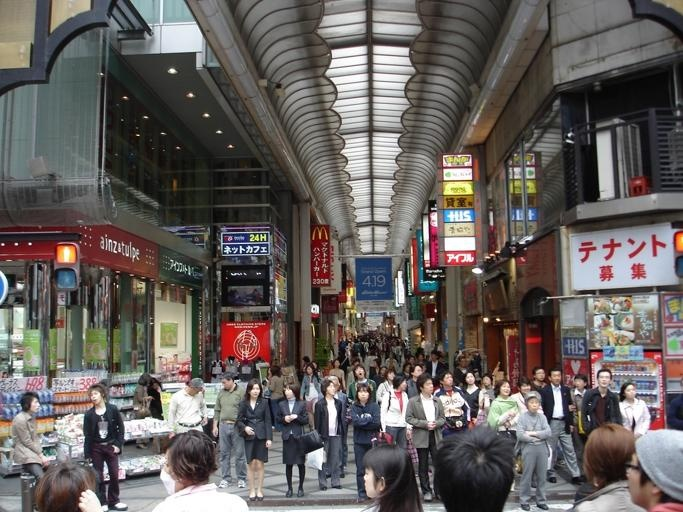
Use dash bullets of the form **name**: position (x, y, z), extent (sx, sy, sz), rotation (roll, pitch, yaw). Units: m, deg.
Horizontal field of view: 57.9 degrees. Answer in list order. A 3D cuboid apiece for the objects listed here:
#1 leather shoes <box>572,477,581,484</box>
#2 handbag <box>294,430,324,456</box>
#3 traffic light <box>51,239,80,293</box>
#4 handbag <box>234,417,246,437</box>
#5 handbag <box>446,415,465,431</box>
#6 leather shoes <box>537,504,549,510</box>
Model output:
- **leather shoes**: position (3.550, 3.376, 9.288), extent (0.103, 0.104, 0.181), rotation (7, 3, 12)
- **handbag**: position (-0.474, 2.729, 9.001), extent (0.356, 0.374, 0.136), rotation (-17, -10, -4)
- **traffic light**: position (-3.291, 0.106, 7.419), extent (0.308, 0.599, 0.210), rotation (-1, -8, -11)
- **handbag**: position (-1.482, 2.538, 9.181), extent (0.090, 0.249, 0.173), rotation (2, 14, -15)
- **handbag**: position (1.648, 2.386, 8.805), extent (0.278, 0.203, 0.295), rotation (-4, -9, 8)
- **leather shoes**: position (2.671, 3.292, 8.147), extent (0.150, 0.072, 0.160), rotation (-5, -9, 16)
